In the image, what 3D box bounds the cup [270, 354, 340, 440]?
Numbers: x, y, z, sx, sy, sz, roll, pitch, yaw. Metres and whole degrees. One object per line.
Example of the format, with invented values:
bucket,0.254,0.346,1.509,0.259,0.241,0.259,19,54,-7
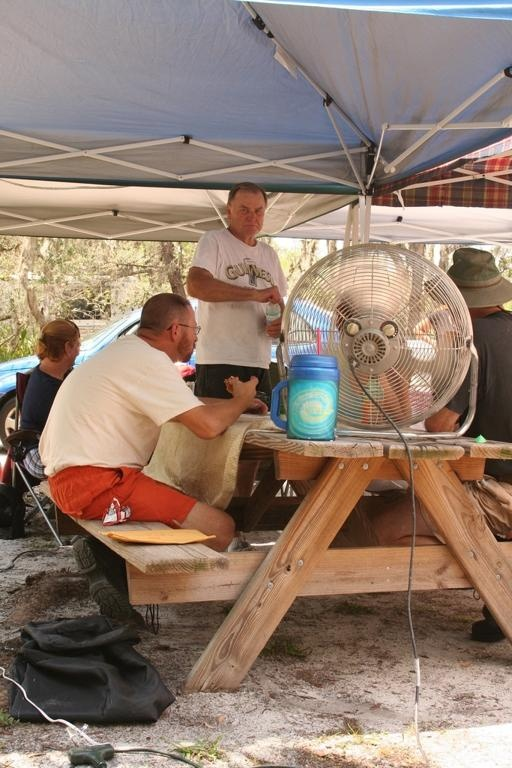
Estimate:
cup,0.141,0.038,1.666,0.139,0.217,0.127,4,-7,0
